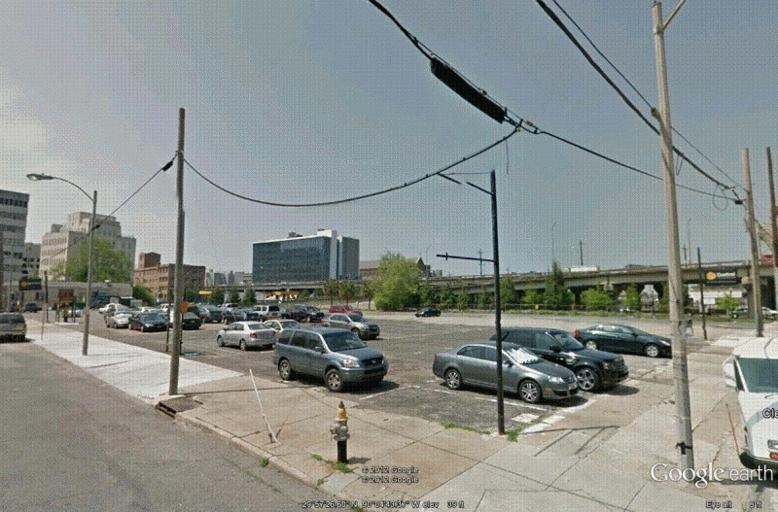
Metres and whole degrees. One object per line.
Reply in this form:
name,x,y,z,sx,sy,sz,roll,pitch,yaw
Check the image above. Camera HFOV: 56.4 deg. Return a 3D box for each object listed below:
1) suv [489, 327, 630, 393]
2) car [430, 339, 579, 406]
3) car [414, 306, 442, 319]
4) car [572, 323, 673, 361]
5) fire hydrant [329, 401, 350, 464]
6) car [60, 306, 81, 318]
suv,7.366,4.657,31.773,5.786,2.541,2.657,-4,-5,43
car,4.948,4.736,29.871,4.907,1.897,2.329,-4,-7,34
car,3.777,5.449,69.647,1.759,0.802,1.080,8,-12,-39
car,12.199,4.662,37.952,4.726,1.786,2.109,-3,-5,32
fire hydrant,-1.676,6.141,25.384,0.577,2.117,0.841,1,-4,-1
car,-28.615,5.061,65.550,1.400,1.607,0.806,-2,-5,-19
